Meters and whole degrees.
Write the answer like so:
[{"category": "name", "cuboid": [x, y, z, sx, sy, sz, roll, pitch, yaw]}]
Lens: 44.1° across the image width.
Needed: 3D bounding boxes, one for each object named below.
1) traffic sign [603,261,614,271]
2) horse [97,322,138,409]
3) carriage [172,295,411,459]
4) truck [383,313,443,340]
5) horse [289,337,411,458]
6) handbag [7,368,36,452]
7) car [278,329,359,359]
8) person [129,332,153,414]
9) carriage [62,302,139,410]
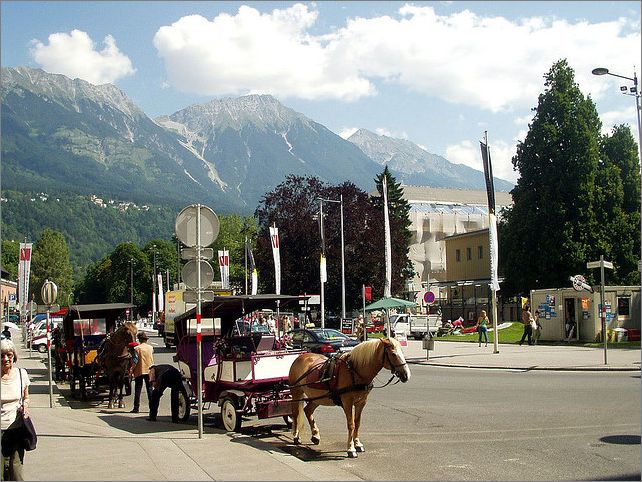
[{"category": "traffic sign", "cuboid": [14.813, 1.289, 40.528, 0.545, 0.455, 2.577, 6, -1, 18]}, {"category": "horse", "cuboid": [-6.517, 3.788, 25.216, 1.090, 3.161, 0.968, 0, -1, -39]}, {"category": "carriage", "cuboid": [-1.321, 3.711, 21.222, 5.776, 4.157, 7.924, 1, -4, -30]}, {"category": "truck", "cuboid": [6.928, 5.724, 56.689, 3.607, 1.975, 2.293, 4, -10, -14]}, {"category": "horse", "cuboid": [0.523, 3.931, 19.910, 3.496, 3.065, 1.050, -2, 2, 34]}, {"category": "handbag", "cuboid": [-6.228, 3.557, 16.533, 0.424, 1.684, 0.317, -1, -4, -3]}, {"category": "car", "cuboid": [0.132, 4.595, 36.287, 1.491, 1.320, 3.477, 3, -1, -40]}, {"category": "person", "cuboid": [-5.431, 4.078, 24.616, 0.757, 2.462, 1.016, 1, -3, -27]}, {"category": "carriage", "cuboid": [-7.820, 3.843, 28.134, 2.231, 4.884, 2.166, 0, -1, -25]}]
